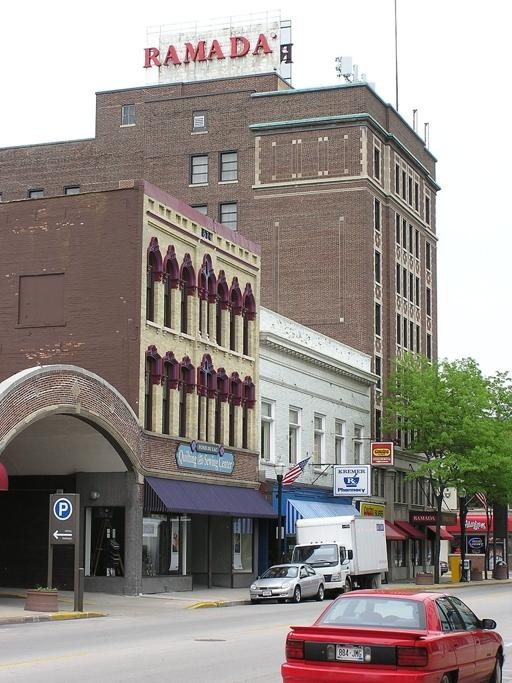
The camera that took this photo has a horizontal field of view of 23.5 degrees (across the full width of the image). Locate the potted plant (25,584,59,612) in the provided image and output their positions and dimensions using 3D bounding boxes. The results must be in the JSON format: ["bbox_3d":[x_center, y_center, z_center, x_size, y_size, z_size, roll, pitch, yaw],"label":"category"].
[{"bbox_3d":[-4.815,5.794,27.633,0.504,0.382,0.536,6,-9,-28],"label":"potted plant"}]

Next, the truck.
[{"bbox_3d":[2.712,7.098,41.044,1.678,2.357,4.031,-4,-13,21],"label":"truck"}]

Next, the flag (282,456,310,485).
[{"bbox_3d":[1.489,4.959,47.235,1.826,0.689,0.182,-22,-25,-55],"label":"flag"}]
